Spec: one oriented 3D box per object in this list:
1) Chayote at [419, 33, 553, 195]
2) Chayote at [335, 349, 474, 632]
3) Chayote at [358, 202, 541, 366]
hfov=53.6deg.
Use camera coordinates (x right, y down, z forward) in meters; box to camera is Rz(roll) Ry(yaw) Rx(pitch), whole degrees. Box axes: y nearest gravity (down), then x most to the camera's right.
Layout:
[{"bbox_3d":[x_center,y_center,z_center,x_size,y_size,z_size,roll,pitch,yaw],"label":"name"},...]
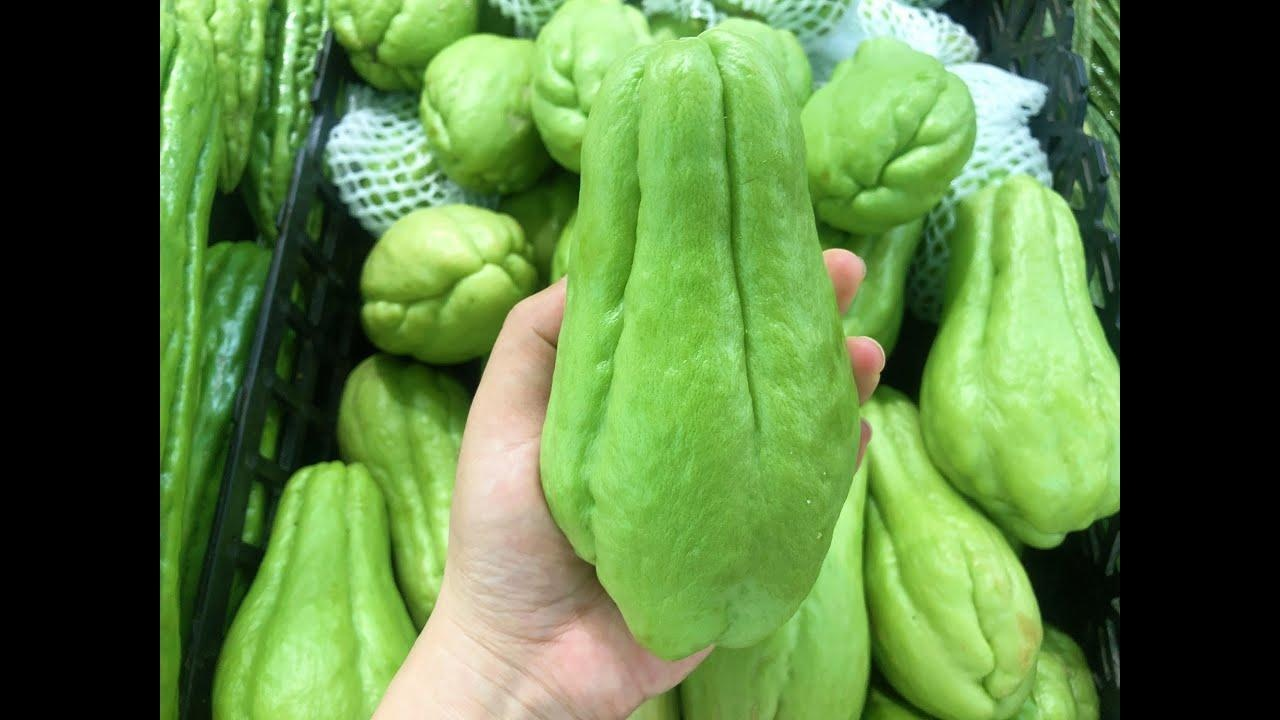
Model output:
[{"bbox_3d":[-0.270,-0.426,2.219,0.192,0.270,0.202,-12,11,-24],"label":"Chayote"},{"bbox_3d":[-0.394,0.184,2.095,0.217,0.466,0.188,-3,-2,-14],"label":"Chayote"},{"bbox_3d":[-0.339,-0.152,2.222,0.287,0.232,0.214,-25,23,-19],"label":"Chayote"}]
